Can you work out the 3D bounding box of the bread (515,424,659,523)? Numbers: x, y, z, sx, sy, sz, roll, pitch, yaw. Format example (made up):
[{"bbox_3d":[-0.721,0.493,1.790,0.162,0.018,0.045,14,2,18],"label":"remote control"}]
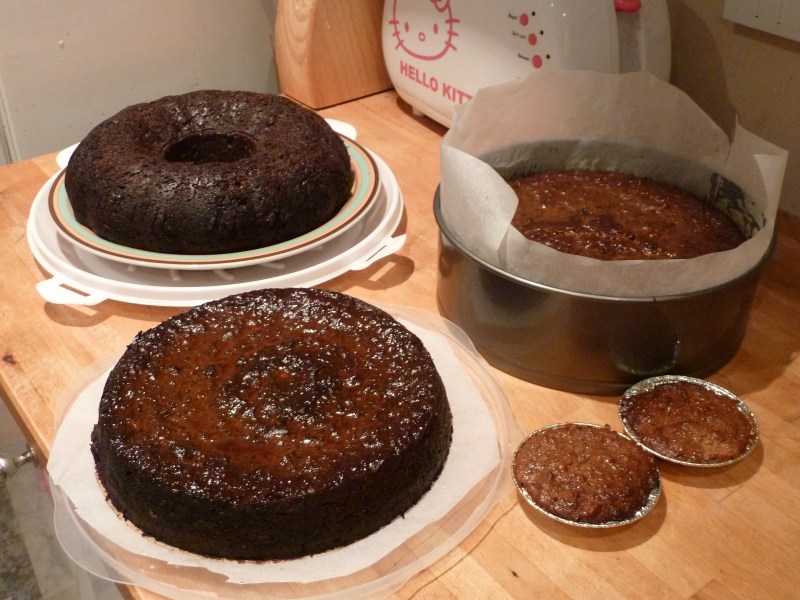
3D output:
[{"bbox_3d":[0.185,0.172,0.629,0.143,0.027,0.103,1,41,6],"label":"bread"}]

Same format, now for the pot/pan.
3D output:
[{"bbox_3d":[0.256,-0.059,0.808,0.373,0.165,0.375,24,48,28],"label":"pot/pan"}]
